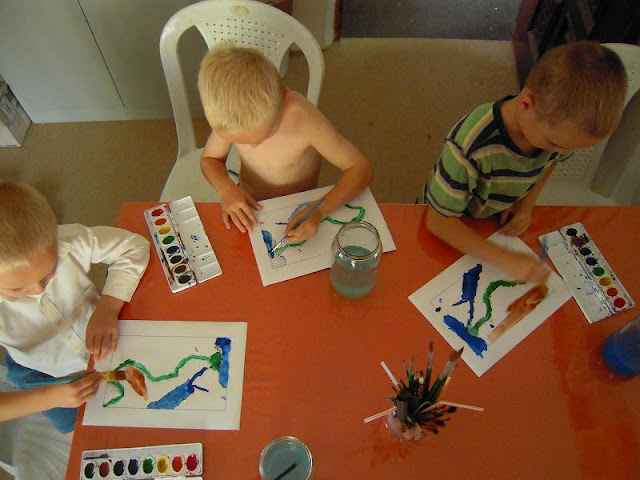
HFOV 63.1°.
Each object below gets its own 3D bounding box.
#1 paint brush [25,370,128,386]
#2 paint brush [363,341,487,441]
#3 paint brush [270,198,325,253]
[{"bbox_3d":[-0.685,0.388,1.465,0.308,0.089,0.037,-3,79,5],"label":"paint brush"},{"bbox_3d":[0.269,0.400,1.349,0.188,0.164,0.118,44,26,-1],"label":"paint brush"},{"bbox_3d":[-0.071,-0.038,1.594,0.034,0.030,0.176,-7,49,59],"label":"paint brush"}]
